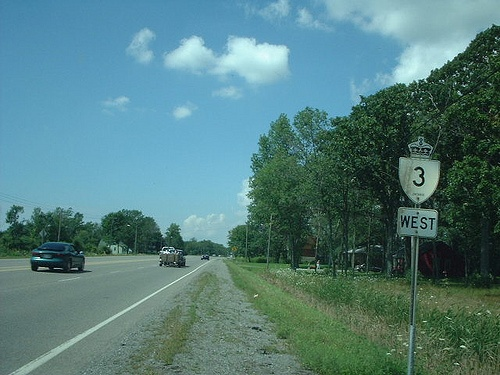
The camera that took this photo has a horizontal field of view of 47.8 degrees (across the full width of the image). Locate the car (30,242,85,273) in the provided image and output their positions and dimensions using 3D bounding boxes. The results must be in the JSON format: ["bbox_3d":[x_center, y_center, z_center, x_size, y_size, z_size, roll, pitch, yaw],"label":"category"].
[{"bbox_3d":[-11.464,4.335,34.511,1.464,1.221,3.497,0,-17,1],"label":"car"}]

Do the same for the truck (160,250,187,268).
[{"bbox_3d":[-7.188,6.423,51.709,1.320,1.199,2.444,3,-16,0],"label":"truck"}]
